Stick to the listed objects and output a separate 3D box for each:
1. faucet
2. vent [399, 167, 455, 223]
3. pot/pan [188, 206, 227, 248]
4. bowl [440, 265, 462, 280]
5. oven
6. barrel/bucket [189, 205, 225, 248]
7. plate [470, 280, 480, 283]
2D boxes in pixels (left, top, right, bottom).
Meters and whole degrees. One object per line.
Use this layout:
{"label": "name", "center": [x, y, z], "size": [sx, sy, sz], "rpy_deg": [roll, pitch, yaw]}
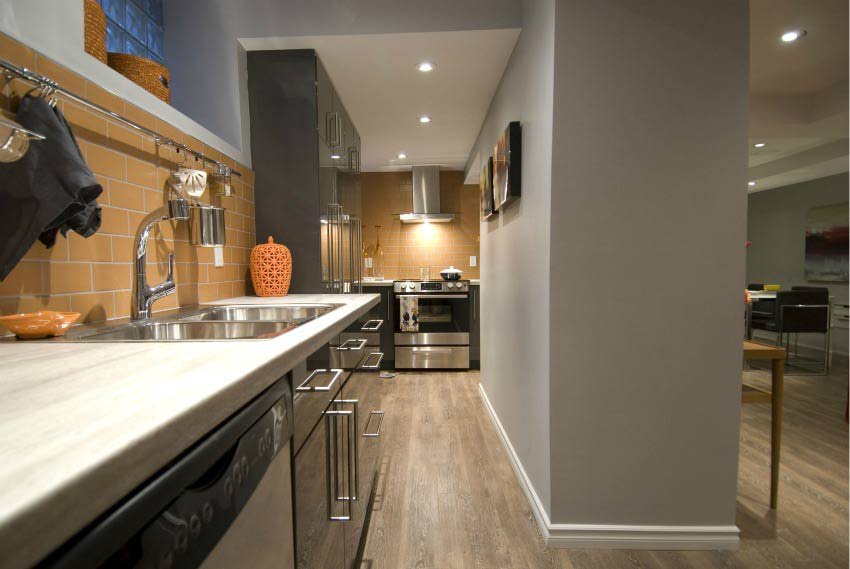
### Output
{"label": "faucet", "center": [-1.169, -0.111, 2.453], "size": [0.214, 0.523, 0.194], "rpy_deg": [-1, 1, -37]}
{"label": "vent", "center": [-0.002, -0.958, 6.229], "size": [0.587, 0.614, 0.544], "rpy_deg": [-2, -4, -2]}
{"label": "pot/pan", "center": [-1.060, -0.285, 2.833], "size": [0.184, 0.212, 0.192], "rpy_deg": [2, 3, 10]}
{"label": "bowl", "center": [0.249, -0.102, 5.504], "size": [0.146, 0.110, 0.147], "rpy_deg": [0, 7, 0]}
{"label": "oven", "center": [0.075, 0.459, 5.694], "size": [0.854, 0.923, 0.627], "rpy_deg": [0, -3, -1]}
{"label": "barrel/bucket", "center": [-1.080, -0.294, 2.746], "size": [0.184, 0.213, 0.192], "rpy_deg": [1, 10, 0]}
{"label": "plate", "center": [0.481, -0.029, 5.512], "size": [0.085, 0.044, 0.278], "rpy_deg": [-1, 0, 7]}
